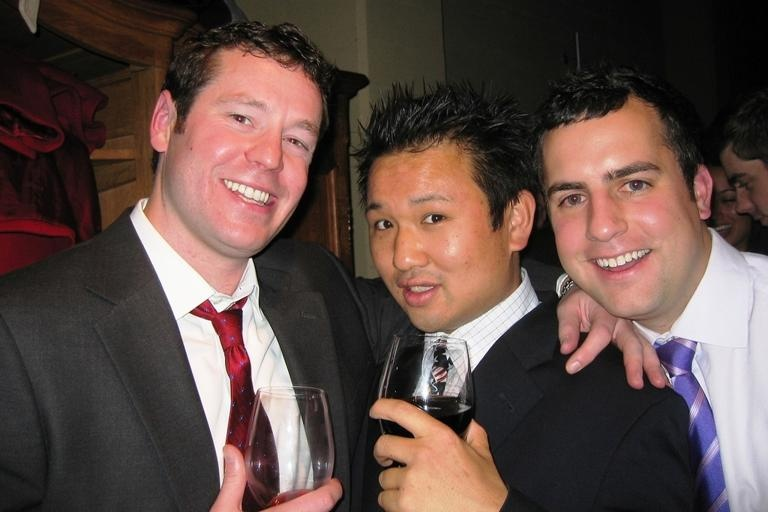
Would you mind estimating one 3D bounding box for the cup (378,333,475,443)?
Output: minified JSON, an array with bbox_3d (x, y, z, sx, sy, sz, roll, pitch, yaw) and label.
[{"bbox_3d":[0.162,0.515,2.436,0.384,0.514,0.252,7,-9,1],"label":"cup"}]
